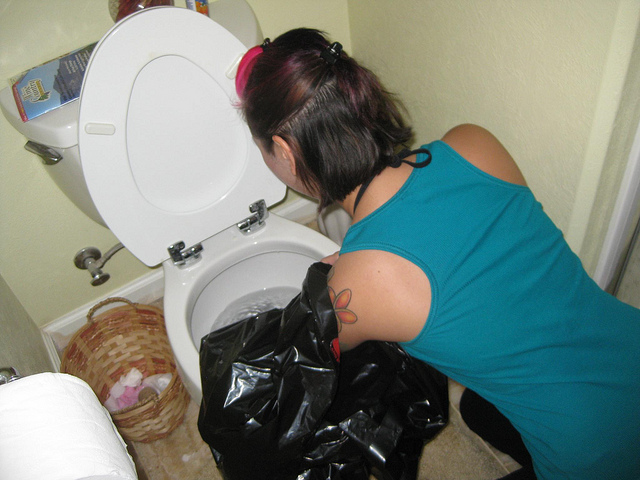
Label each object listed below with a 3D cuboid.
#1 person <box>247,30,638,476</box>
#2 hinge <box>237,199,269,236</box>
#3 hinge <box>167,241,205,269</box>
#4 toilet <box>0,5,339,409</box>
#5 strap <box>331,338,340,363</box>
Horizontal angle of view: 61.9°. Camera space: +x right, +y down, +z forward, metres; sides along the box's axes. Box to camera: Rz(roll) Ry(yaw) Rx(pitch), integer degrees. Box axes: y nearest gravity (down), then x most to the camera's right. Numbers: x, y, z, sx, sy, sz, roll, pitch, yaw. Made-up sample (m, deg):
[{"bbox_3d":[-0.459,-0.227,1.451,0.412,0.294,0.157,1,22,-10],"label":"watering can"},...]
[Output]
[{"bbox_3d":[0.225,0.030,0.981,0.730,0.744,0.357,9,34,22],"label":"person"},{"bbox_3d":[-0.173,-0.073,1.424,0.055,0.079,0.101,-27,56,14],"label":"hinge"},{"bbox_3d":[-0.341,0.034,1.337,0.063,0.068,0.023,-33,33,-23],"label":"hinge"},{"bbox_3d":[-0.347,-0.081,1.212,0.466,0.692,0.701,-36,65,-2],"label":"toilet"},{"bbox_3d":[0.027,0.200,0.959,0.012,0.025,0.039,-8,76,-7],"label":"strap"}]
